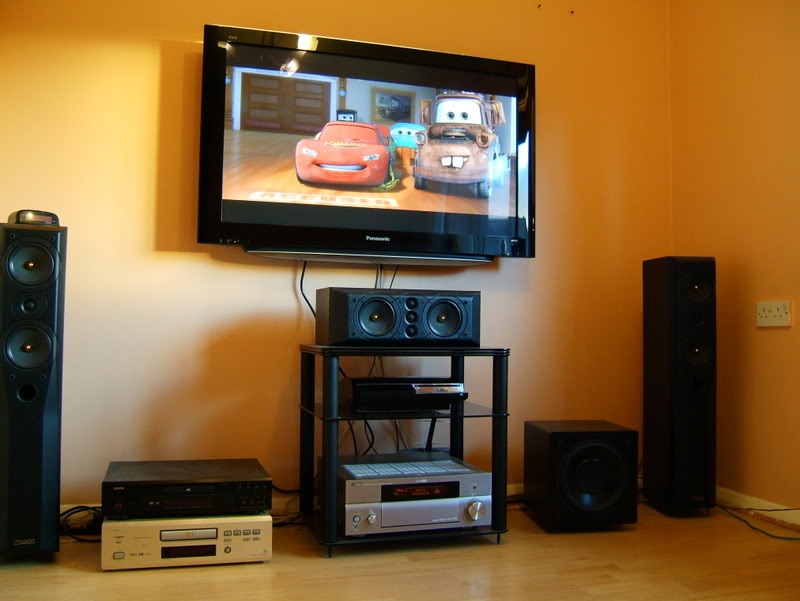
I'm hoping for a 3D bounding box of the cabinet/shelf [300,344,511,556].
[{"bbox_3d":[0.009,0.570,3.230,0.778,0.732,0.607,1,-3,-19],"label":"cabinet/shelf"}]

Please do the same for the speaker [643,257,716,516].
[{"bbox_3d":[1.239,0.352,3.411,0.264,1.075,0.392,1,9,1],"label":"speaker"}]

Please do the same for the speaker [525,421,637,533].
[{"bbox_3d":[0.775,0.755,3.413,0.404,0.444,0.428,0,-2,-8],"label":"speaker"}]
